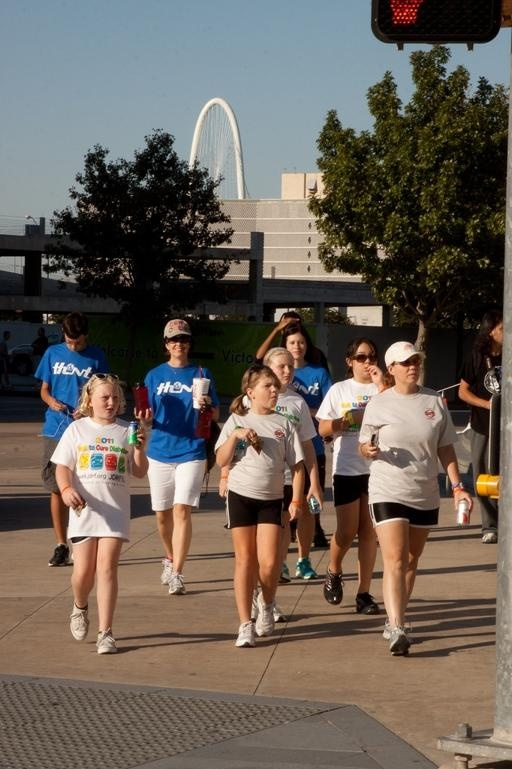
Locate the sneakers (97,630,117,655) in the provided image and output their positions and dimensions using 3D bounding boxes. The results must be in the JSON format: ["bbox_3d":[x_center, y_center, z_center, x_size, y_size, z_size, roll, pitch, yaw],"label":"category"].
[{"bbox_3d":[-0.807,1.374,5.654,0.127,0.104,0.129,1,0,11],"label":"sneakers"}]

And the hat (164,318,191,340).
[{"bbox_3d":[-0.587,-0.407,7.756,0.207,0.146,0.327,0,-4,-8],"label":"hat"}]

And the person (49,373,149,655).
[{"bbox_3d":[-0.906,0.690,5.911,0.517,1.331,0.625,1,-1,3],"label":"person"}]

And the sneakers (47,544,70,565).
[{"bbox_3d":[-1.530,1.348,8.289,0.085,0.108,0.240,0,-1,11],"label":"sneakers"}]

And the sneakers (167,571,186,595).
[{"bbox_3d":[-0.545,1.373,7.293,0.119,0.120,0.172,1,0,-4],"label":"sneakers"}]

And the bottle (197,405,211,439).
[{"bbox_3d":[-0.372,0.277,7.552,0.095,0.206,0.198,2,0,-3],"label":"bottle"}]

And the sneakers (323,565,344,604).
[{"bbox_3d":[0.503,1.334,7.029,0.096,0.249,0.107,-1,1,-22],"label":"sneakers"}]

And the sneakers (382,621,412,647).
[{"bbox_3d":[0.787,1.404,6.002,0.094,0.114,0.269,0,-9,-2],"label":"sneakers"}]

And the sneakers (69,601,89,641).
[{"bbox_3d":[-0.988,1.331,5.955,0.097,0.180,0.192,2,0,-9],"label":"sneakers"}]

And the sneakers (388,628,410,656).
[{"bbox_3d":[0.743,1.369,5.657,0.077,0.093,0.207,0,-27,-2],"label":"sneakers"}]

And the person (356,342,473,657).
[{"bbox_3d":[0.835,0.613,5.907,0.621,1.241,0.558,2,-1,-22],"label":"person"}]

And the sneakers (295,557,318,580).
[{"bbox_3d":[0.366,1.404,8.071,0.087,0.164,0.242,1,-3,-38],"label":"sneakers"}]

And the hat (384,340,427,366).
[{"bbox_3d":[0.821,-0.160,5.984,0.143,0.103,0.189,-11,-2,-29],"label":"hat"}]
